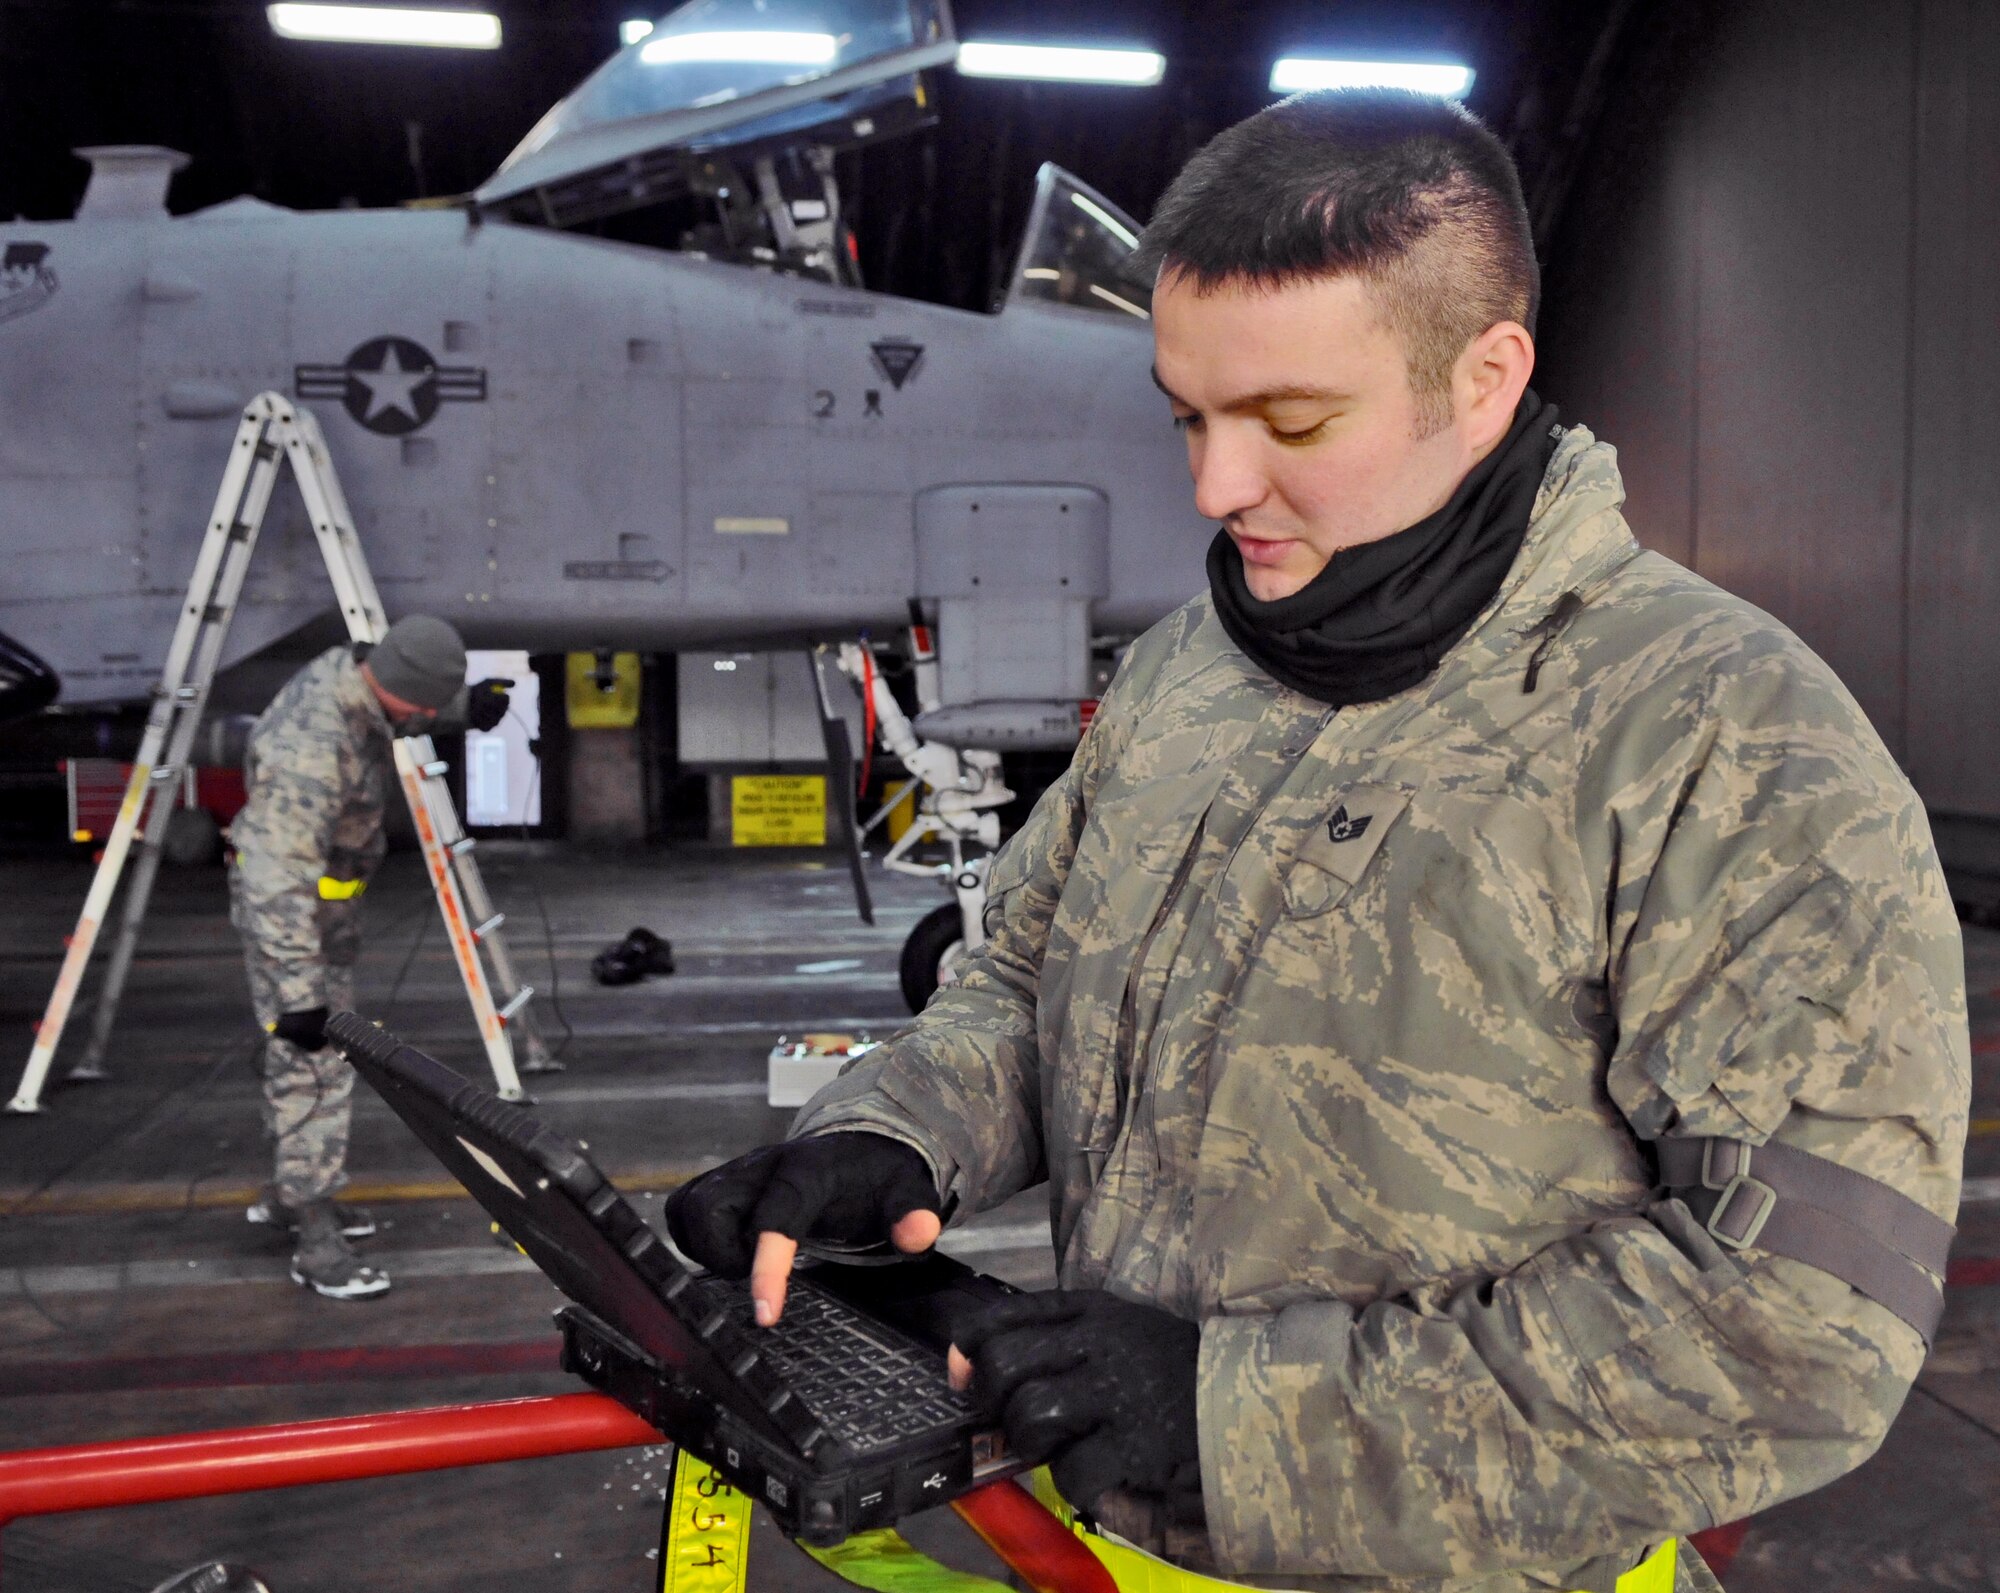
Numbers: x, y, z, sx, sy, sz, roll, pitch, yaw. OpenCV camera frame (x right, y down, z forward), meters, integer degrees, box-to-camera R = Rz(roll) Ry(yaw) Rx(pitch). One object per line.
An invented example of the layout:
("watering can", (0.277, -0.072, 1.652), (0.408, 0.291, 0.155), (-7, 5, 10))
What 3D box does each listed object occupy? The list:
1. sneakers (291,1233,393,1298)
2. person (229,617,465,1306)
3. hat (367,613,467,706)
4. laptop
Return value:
("sneakers", (-1.737, 1.214, 5.088), (0.311, 0.112, 0.119), (4, 6, 33))
("person", (-1.886, 0.461, 5.563), (0.786, 1.756, 1.482), (-1, 24, -13))
("hat", (-1.665, -0.376, 5.573), (0.277, 0.160, 0.257), (20, 32, -19))
("laptop", (-0.193, 0.591, 2.175), (0.463, 0.234, 0.408), (11, 34, -10))
